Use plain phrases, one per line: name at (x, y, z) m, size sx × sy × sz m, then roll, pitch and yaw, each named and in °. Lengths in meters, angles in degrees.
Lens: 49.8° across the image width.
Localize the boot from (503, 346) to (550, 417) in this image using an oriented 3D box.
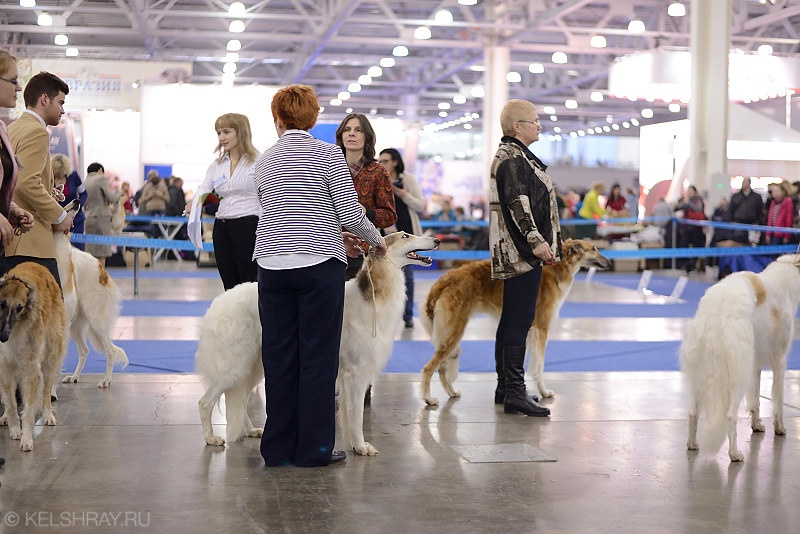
boot at (1.340, 1.186, 9.057) m, size 0.522 × 0.699 × 0.293 m, roll 4°, pitch 11°, yaw 14°

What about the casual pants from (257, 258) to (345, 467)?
casual pants at (-0.867, 0.870, 7.720) m, size 0.749 × 1.893 × 0.261 m, roll -1°, pitch 11°, yaw -9°

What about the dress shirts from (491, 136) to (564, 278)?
dress shirts at (1.305, -0.570, 8.956) m, size 0.730 × 1.499 × 0.667 m, roll 2°, pitch 11°, yaw 5°
